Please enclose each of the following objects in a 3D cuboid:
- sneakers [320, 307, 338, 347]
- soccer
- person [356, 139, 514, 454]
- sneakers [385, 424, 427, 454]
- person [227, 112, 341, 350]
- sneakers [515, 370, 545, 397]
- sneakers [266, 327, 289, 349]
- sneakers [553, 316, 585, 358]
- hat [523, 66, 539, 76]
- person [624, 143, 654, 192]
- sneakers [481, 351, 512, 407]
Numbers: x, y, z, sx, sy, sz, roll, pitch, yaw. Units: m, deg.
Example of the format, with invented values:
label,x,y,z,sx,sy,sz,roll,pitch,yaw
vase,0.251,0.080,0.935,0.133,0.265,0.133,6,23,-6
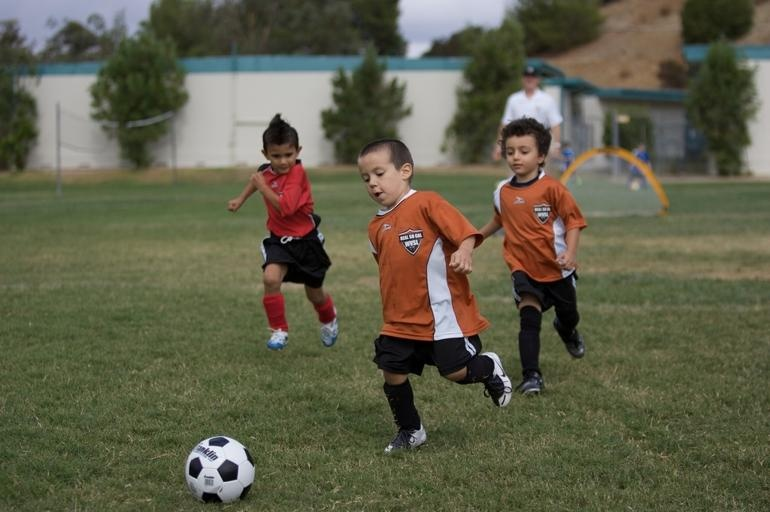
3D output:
label,x,y,z,sx,sy,sz,roll,pitch,yaw
sneakers,-0.442,0.549,9.020,0.107,0.316,0.131,-1,8,14
soccer,-1.043,1.400,7.503,0.436,0.408,0.384,1,-20,17
person,0.296,0.254,7.702,0.903,2.083,0.398,-2,5,-1
sneakers,0.145,1.224,7.727,0.325,0.147,0.121,-10,2,-36
person,-0.722,-0.186,8.882,0.636,1.811,0.363,-3,6,-16
sneakers,1.048,0.923,8.314,0.093,0.114,0.259,0,-2,-13
sneakers,-0.842,0.641,8.914,0.148,0.174,0.292,-2,5,-5
sneakers,1.383,0.613,8.734,0.166,0.371,0.143,-33,14,3
hat,1.418,-1.805,11.211,0.147,0.120,0.254,-1,5,8
person,2.178,-0.765,9.860,0.145,0.408,0.739,-1,5,9
sneakers,0.792,0.867,7.851,0.145,0.445,0.174,-11,7,42
